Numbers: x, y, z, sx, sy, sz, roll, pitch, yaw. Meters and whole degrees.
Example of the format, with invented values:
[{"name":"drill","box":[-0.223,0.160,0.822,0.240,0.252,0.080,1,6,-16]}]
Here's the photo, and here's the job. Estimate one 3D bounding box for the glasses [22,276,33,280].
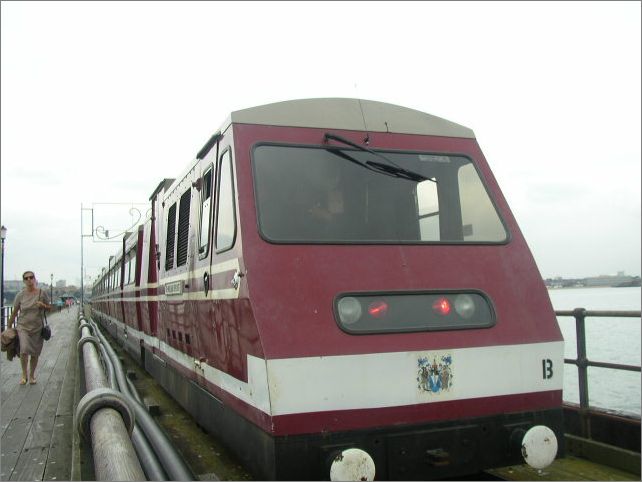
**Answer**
[{"name":"glasses","box":[-5.252,0.646,9.594,0.159,0.057,0.154,2,-1,-32]}]
